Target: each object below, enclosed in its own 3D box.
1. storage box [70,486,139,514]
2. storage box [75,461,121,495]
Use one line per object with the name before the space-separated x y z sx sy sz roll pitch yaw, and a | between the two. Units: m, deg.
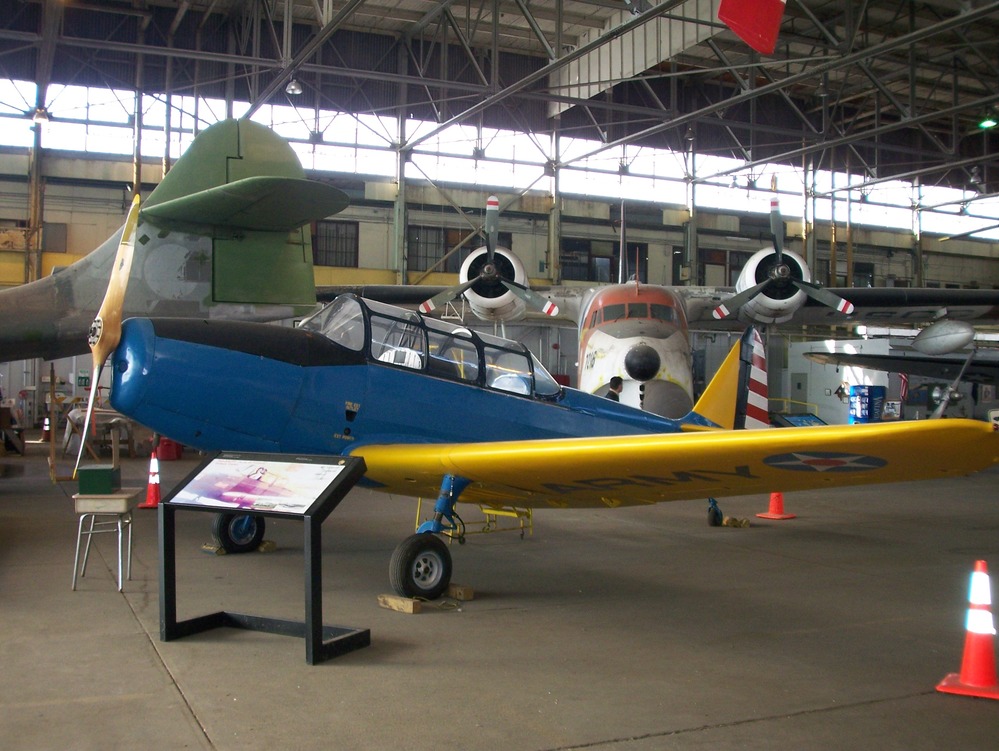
storage box | -3.572 1.179 9.255 0.498 0.263 0.437 0 8 -13
storage box | -3.663 0.935 9.314 0.354 0.198 0.338 2 -5 -22
